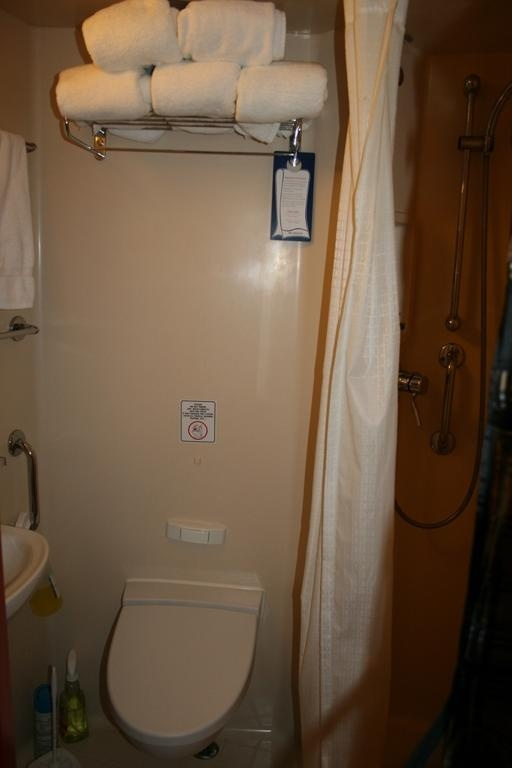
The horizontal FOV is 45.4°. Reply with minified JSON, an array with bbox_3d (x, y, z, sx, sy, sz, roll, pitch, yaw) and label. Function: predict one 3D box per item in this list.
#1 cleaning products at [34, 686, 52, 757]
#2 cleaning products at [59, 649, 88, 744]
[{"bbox_3d":[-0.590,0.973,1.713,0.074,0.205,0.042,7,9,32],"label":"cleaning products"},{"bbox_3d":[-0.534,0.938,1.784,0.080,0.307,0.057,-1,8,-23],"label":"cleaning products"}]
